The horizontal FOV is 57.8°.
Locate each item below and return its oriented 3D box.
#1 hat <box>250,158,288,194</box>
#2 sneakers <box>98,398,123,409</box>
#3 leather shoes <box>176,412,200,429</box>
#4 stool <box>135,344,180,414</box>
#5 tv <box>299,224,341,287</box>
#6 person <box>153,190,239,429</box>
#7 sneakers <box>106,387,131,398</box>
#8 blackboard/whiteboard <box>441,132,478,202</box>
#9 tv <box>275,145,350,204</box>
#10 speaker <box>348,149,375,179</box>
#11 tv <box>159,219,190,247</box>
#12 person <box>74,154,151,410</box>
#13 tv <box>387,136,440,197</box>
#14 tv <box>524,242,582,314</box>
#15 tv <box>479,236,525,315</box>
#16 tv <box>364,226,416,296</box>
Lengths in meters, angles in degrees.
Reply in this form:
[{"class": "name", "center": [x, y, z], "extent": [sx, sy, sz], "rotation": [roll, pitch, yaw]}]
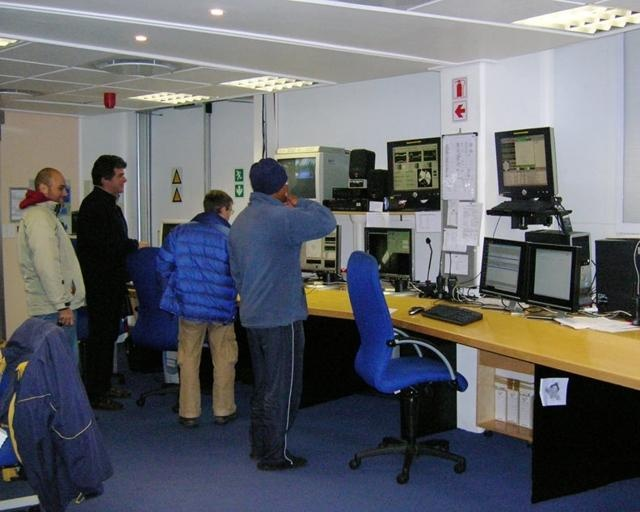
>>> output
[{"class": "hat", "center": [-0.331, -0.536, 3.641], "extent": [0.243, 0.203, 0.255], "rotation": [0, 42, 6]}, {"class": "sneakers", "center": [-1.709, 1.192, 4.713], "extent": [0.218, 0.097, 0.081], "rotation": [0, 3, 3]}, {"class": "leather shoes", "center": [-1.004, 1.244, 4.395], "extent": [0.076, 0.147, 0.145], "rotation": [2, -2, -32]}, {"class": "stool", "center": [-1.388, 1.037, 4.974], "extent": [0.459, 0.492, 0.409], "rotation": [-1, -4, 41]}, {"class": "tv", "center": [-0.044, -0.007, 5.300], "extent": [0.459, 0.473, 0.154], "rotation": [2, -12, -35]}, {"class": "person", "center": [-0.889, 0.420, 4.220], "extent": [0.560, 1.733, 0.569], "rotation": [-2, 8, -9]}, {"class": "sneakers", "center": [-1.735, 1.164, 4.978], "extent": [0.200, 0.090, 0.076], "rotation": [2, 3, -2]}, {"class": "blackboard/whiteboard", "center": [1.125, -0.706, 4.583], "extent": [0.307, 0.512, 0.068], "rotation": [7, 10, 43]}, {"class": "tv", "center": [-0.063, -0.751, 5.525], "extent": [0.642, 0.565, 0.480], "rotation": [8, 14, 39]}, {"class": "speaker", "center": [0.380, -0.808, 5.075], "extent": [0.220, 0.255, 0.216], "rotation": [0, 8, 3]}, {"class": "tv", "center": [-1.499, -0.290, 5.873], "extent": [0.311, 0.207, 0.449], "rotation": [-1, -3, -3]}, {"class": "person", "center": [-1.692, 0.152, 4.617], "extent": [0.436, 1.877, 0.319], "rotation": [-4, 8, -25]}, {"class": "tv", "center": [0.781, -0.714, 4.669], "extent": [0.464, 0.468, 0.263], "rotation": [2, 4, 33]}, {"class": "tv", "center": [1.491, 0.127, 3.639], "extent": [0.050, 0.445, 0.448], "rotation": [1, -2, -24]}, {"class": "tv", "center": [1.282, 0.143, 3.995], "extent": [0.163, 0.429, 0.467], "rotation": [5, -7, -18]}, {"class": "tv", "center": [0.567, 0.038, 4.502], "extent": [0.184, 0.590, 0.528], "rotation": [5, -5, -42]}]
